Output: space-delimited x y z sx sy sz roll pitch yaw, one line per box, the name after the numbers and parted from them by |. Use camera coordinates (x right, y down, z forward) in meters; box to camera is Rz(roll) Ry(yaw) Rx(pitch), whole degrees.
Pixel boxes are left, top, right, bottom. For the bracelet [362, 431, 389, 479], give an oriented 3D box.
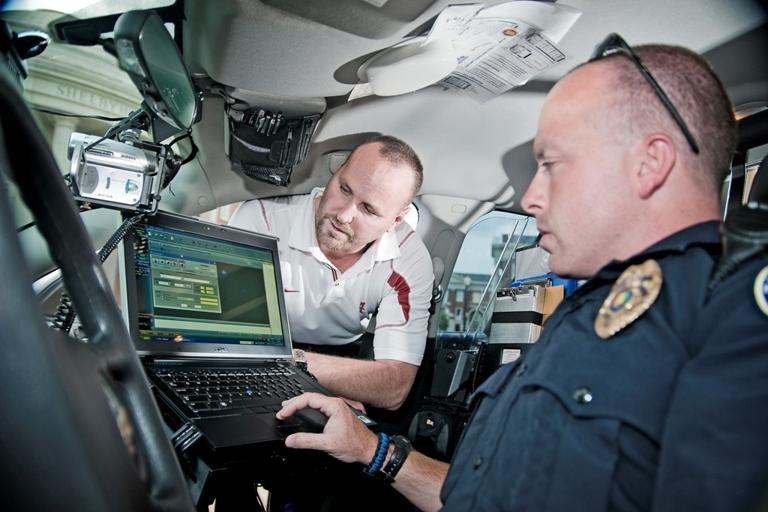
-0.022 0.582 1.555 0.044 0.106 0.100 25 23 -33 | bracelet
